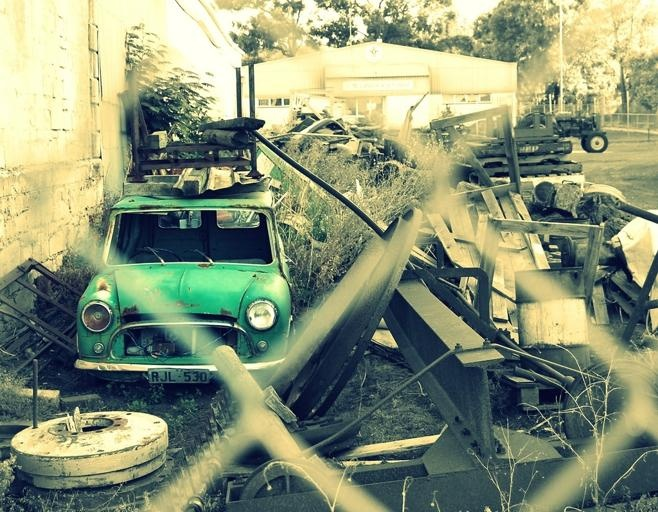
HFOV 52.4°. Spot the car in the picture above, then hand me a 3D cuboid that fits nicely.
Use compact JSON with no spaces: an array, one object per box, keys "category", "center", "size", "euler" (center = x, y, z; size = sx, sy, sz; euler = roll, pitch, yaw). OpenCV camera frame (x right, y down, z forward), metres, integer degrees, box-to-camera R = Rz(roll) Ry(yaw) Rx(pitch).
[{"category":"car","center":[-1.460,0.131,7.437],"size":[1.896,1.678,3.447],"euler":[0,12,-7]}]

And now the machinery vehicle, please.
[{"category":"machinery vehicle","center":[6.347,-3.288,18.000],"size":[2.507,1.282,2.013],"euler":[-3,12,-6]}]
